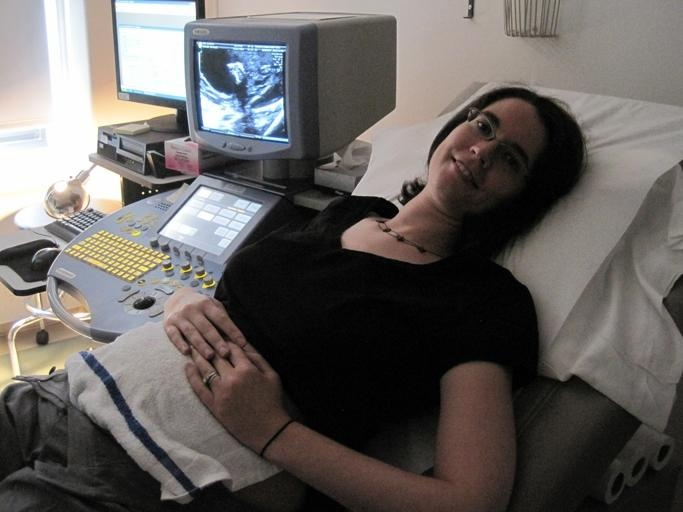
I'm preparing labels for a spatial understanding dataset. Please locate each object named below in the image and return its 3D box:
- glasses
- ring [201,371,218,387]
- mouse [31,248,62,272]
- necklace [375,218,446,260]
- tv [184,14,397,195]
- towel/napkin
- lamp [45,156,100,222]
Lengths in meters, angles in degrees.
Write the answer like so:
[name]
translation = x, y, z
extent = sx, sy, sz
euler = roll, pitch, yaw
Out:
[glasses]
translation = 0.344, -0.246, 1.177
extent = 0.138, 0.043, 0.140
euler = 51, 10, 18
[ring]
translation = -0.253, 0.233, 1.034
extent = 0.028, 0.026, 0.011
euler = 12, -18, 42
[mouse]
translation = -0.922, 0.013, 1.688
extent = 0.044, 0.048, 0.054
euler = 19, 64, 35
[necklace]
translation = 0.143, -0.041, 1.217
extent = 0.185, 0.019, 0.059
euler = 34, 54, 15
[tv]
translation = -0.148, -0.486, 1.804
extent = 0.610, 0.537, 0.559
euler = -19, 24, -40
[towel/napkin]
translation = -0.340, 0.294, 1.005
extent = 0.279, 0.096, 0.338
euler = -28, 64, -38
[lamp]
translation = -0.957, -0.251, 1.975
extent = 0.201, 0.188, 0.145
euler = -14, 45, -28
